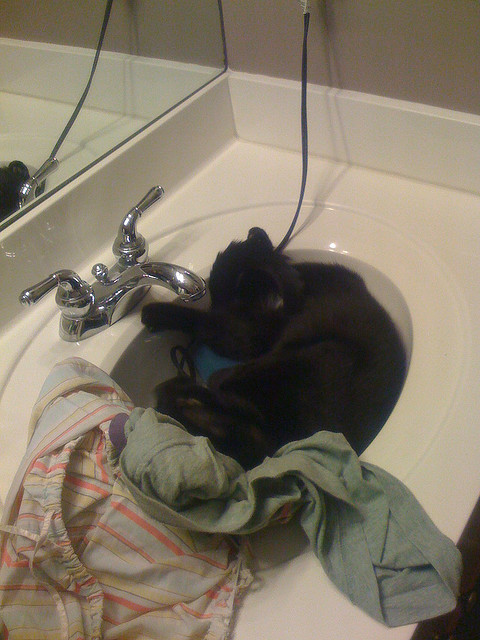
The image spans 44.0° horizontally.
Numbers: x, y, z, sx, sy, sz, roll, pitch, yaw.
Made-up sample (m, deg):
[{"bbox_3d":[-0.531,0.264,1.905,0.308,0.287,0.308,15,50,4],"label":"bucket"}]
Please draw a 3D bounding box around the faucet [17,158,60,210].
[{"bbox_3d":[-0.293,-0.202,0.872,0.093,0.034,0.029,-33,0,12],"label":"faucet"}]

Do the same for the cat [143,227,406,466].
[{"bbox_3d":[0.070,0.069,0.918,0.428,0.283,0.227,20,-11,4],"label":"cat"}]

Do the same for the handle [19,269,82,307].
[{"bbox_3d":[-0.259,-0.044,0.811,0.020,0.027,0.076,18,37,15],"label":"handle"}]

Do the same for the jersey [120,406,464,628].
[{"bbox_3d":[0.049,0.184,0.625,0.344,0.076,0.158,12,40,13],"label":"jersey"}]

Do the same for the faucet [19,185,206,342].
[{"bbox_3d":[-0.147,-0.053,0.854,0.196,0.131,0.275,25,50,20],"label":"faucet"}]

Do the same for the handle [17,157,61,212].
[{"bbox_3d":[-0.301,-0.198,0.870,0.029,0.095,0.038,34,-21,-6],"label":"handle"}]
